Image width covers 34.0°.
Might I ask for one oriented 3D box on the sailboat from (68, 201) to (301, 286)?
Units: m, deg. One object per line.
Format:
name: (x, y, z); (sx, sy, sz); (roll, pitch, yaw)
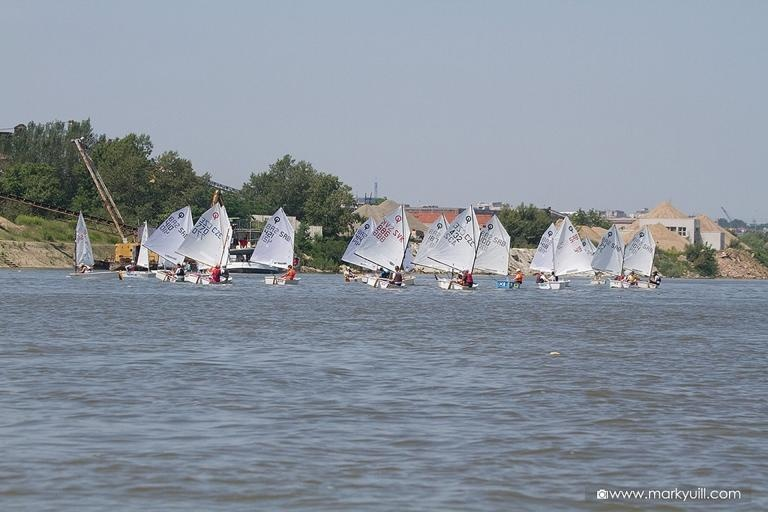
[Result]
sailboat: (-14.421, -1.047, 96.833); (15.019, 6.852, 4.831); (7, 0, -3)
